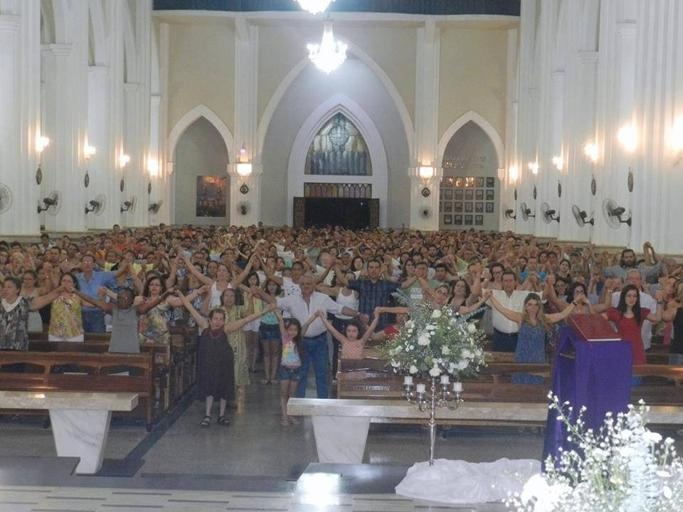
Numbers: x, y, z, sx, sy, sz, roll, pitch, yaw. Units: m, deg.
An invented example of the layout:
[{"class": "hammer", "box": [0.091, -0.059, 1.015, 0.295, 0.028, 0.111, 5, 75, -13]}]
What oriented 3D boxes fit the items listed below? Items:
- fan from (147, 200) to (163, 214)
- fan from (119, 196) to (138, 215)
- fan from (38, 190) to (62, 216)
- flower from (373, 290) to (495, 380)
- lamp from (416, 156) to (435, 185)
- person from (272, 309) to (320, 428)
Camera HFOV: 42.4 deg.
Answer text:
[{"class": "fan", "box": [-6.240, -1.593, 29.575, 0.412, 0.532, 1.498, -1, 9, -10]}, {"class": "fan", "box": [-6.329, -1.544, 26.408, 0.500, 0.541, 0.155, -2, -20, 40]}, {"class": "fan", "box": [-6.876, -1.275, 20.848, 0.767, 0.830, 0.259, 5, -4, 43]}, {"class": "flower", "box": [1.047, 0.919, 9.966, 0.949, 0.875, 0.983, 3, 0, 42]}, {"class": "lamp", "box": [3.052, -2.996, 30.522, 0.782, 1.160, 0.810, 1, -1, -11]}, {"class": "person", "box": [-0.525, 1.502, 11.908, 0.668, 1.779, 0.446, 1, 13, 0]}]
